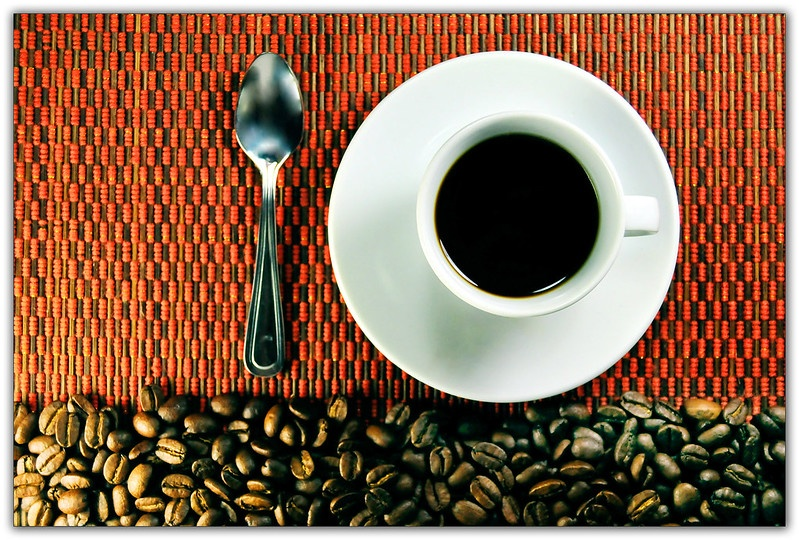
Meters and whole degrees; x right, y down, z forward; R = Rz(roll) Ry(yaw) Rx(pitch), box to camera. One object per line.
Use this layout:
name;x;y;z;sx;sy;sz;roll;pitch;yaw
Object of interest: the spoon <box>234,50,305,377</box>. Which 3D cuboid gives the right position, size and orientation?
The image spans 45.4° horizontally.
spoon;-0.223;-0.100;1.618;0.103;0.555;0.059;-1;2;-8
